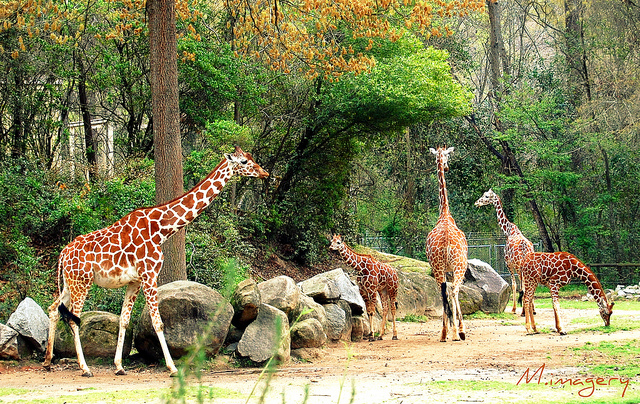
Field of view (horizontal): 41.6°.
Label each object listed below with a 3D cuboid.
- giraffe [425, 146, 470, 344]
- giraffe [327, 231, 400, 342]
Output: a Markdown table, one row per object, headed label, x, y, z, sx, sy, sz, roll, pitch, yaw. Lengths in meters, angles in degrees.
| label | x | y | z | sx | sy | sz | roll | pitch | yaw |
| --- | --- | --- | --- | --- | --- | --- | --- | --- | --- |
| giraffe | 4.670 | 1.599 | 31.124 | 2.009 | 7.141 | 2.752 | 2 | 2 | 6 |
| giraffe | 1.818 | 3.124 | 31.841 | 2.360 | 4.261 | 2.135 | 4 | -6 | -44 |
